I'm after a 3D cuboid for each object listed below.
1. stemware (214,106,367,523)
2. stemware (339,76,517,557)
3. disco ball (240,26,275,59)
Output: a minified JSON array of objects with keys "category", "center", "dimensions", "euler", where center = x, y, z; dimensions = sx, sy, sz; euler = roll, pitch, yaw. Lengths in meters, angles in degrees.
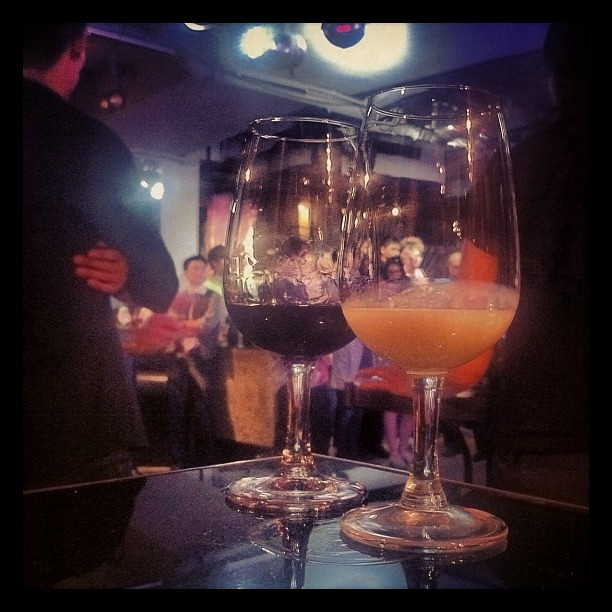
[{"category":"stemware","center":[-0.014,0.009,0.577],"dimensions":[0.128,0.344,0.139],"euler":[5,8,-9]},{"category":"stemware","center":[0.089,0.002,0.458],"dimensions":[0.132,0.281,0.102],"euler":[0,0,17]},{"category":"disco ball","center":[-0.058,-0.309,0.721],"dimensions":[0.042,0.025,0.013],"euler":[0,0,20]}]
